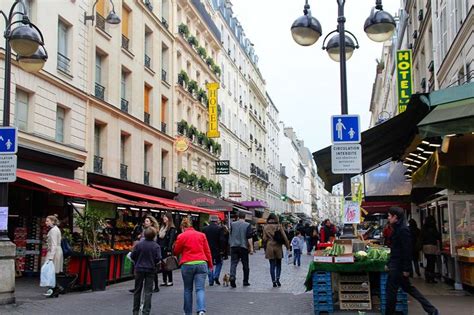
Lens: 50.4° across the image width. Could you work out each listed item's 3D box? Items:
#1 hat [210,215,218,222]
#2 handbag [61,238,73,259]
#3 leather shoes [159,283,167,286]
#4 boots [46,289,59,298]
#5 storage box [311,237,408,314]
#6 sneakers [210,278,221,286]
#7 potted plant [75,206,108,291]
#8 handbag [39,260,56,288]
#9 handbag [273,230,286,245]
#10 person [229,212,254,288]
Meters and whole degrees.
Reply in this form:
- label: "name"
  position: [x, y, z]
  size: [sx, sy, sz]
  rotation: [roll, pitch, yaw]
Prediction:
- label: "hat"
  position: [-0.793, 2.153, 17.295]
  size: [0.229, 0.248, 0.190]
  rotation: [0, 5, -20]
- label: "handbag"
  position: [-5.512, 3.042, 16.299]
  size: [0.265, 0.557, 0.521]
  rotation: [-12, -18, -18]
- label: "leather shoes"
  position: [-2.607, 4.589, 17.751]
  size: [0.246, 0.114, 0.106]
  rotation: [3, -7, 5]
- label: "boots"
  position: [-5.739, 4.342, 15.650]
  size: [0.377, 0.291, 0.158]
  rotation: [10, -22, -17]
- label: "storage box"
  position: [2.975, 3.296, 13.425]
  size: [1.860, 1.135, 1.969]
  rotation: [-3, -7, 21]
- label: "sneakers"
  position: [-0.780, 4.562, 18.085]
  size: [0.178, 0.278, 0.616]
  rotation: [-1, -10, 11]
- label: "potted plant"
  position: [-4.921, 3.231, 17.388]
  size: [0.841, 2.889, 1.138]
  rotation: [-8, -16, 25]
- label: "handbag"
  position: [-5.869, 3.720, 15.712]
  size: [0.437, 0.839, 0.331]
  rotation: [5, -16, -23]
- label: "handbag"
  position: [1.458, 2.869, 17.461]
  size: [0.407, 0.439, 0.207]
  rotation: [4, -16, -25]
- label: "person"
  position: [0.151, 3.343, 18.113]
  size: [0.852, 2.833, 1.600]
  rotation: [-1, -15, 0]
